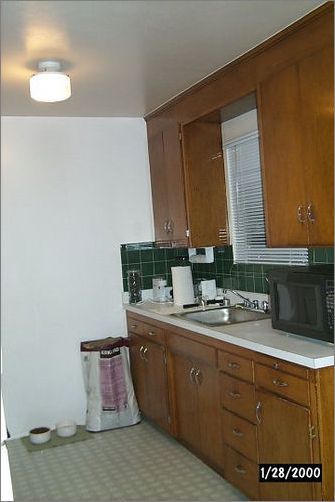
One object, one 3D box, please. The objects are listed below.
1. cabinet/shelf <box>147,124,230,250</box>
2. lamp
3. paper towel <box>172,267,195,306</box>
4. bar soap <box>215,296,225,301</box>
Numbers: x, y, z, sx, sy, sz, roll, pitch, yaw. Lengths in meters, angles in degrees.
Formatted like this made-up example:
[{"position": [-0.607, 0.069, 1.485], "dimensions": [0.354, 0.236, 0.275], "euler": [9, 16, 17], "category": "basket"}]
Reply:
[{"position": [0.112, -0.613, 3.367], "dimensions": [0.719, 1.202, 0.354], "euler": [-7, -4, 43], "category": "cabinet/shelf"}, {"position": [-0.704, -0.994, 2.349], "dimensions": [0.220, 0.176, 0.264], "euler": [-4, -3, -4], "category": "lamp"}, {"position": [0.125, 0.296, 3.343], "dimensions": [0.181, 0.327, 0.324], "euler": [-5, -3, 2], "category": "paper towel"}, {"position": [0.445, 0.410, 3.463], "dimensions": [0.048, 0.033, 0.050], "euler": [0, 0, 1], "category": "bar soap"}]
